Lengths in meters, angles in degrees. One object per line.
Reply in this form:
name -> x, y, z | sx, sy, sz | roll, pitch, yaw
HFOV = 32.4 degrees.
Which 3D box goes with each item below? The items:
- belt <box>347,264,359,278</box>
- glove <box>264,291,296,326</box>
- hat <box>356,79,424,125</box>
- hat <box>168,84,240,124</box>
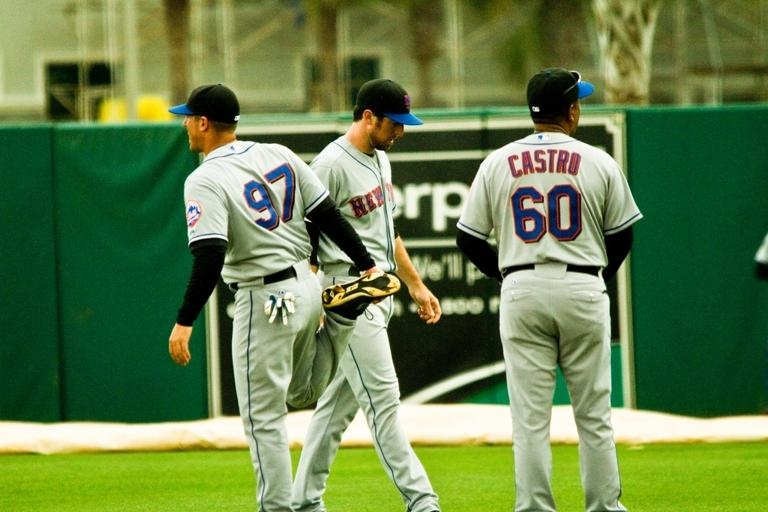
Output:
belt -> -0.265, 0.136, 11.414 | 0.077, 0.094, 0.101 | 11, -3, -11
glove -> -0.867, 0.433, 11.036 | 0.251, 0.246, 0.258 | 0, 8, 0
hat -> 0.051, -1.378, 11.567 | 0.480, 0.278, 0.349 | 12, 15, 17
hat -> -1.483, -1.302, 11.269 | 0.473, 0.260, 0.345 | 2, 8, 7
